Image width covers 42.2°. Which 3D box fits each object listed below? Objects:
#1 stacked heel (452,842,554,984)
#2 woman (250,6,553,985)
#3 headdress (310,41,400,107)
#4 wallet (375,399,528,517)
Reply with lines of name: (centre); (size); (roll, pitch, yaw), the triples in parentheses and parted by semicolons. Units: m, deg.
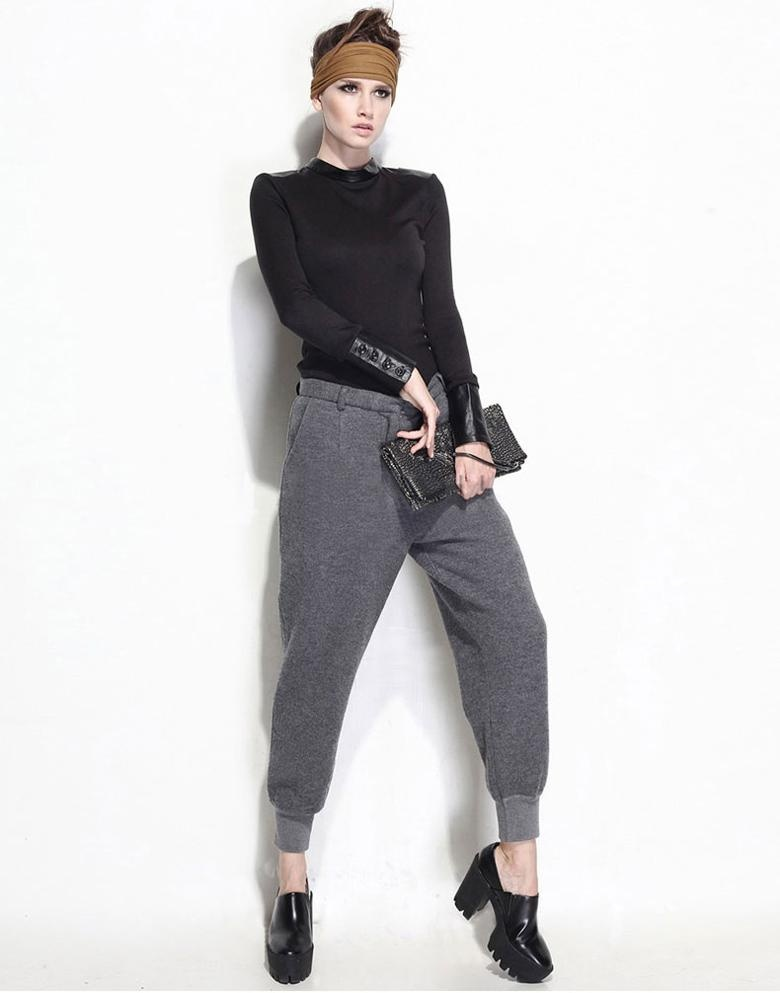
stacked heel: (0.227, 0.799, 1.978); (0.112, 0.229, 0.294); (3, -2, -19)
woman: (0.022, -0.047, 1.958); (0.628, 1.934, 0.341); (3, -3, -2)
headdress: (-0.070, -0.796, 1.893); (0.161, 0.082, 0.099); (2, -2, 0)
wallet: (0.128, -0.064, 1.906); (0.280, 0.160, 0.070); (-18, -16, -17)
